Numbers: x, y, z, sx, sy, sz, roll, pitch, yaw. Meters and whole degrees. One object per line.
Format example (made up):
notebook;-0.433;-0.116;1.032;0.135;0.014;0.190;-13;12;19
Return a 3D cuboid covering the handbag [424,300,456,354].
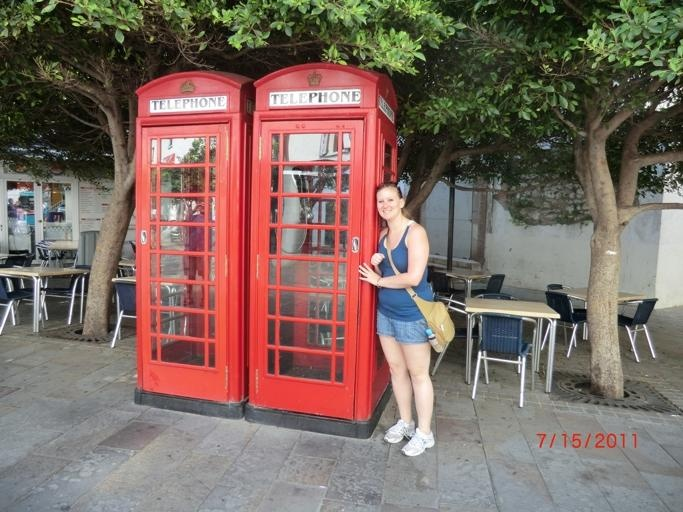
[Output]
handbag;0.850;0.694;5.196;0.369;0.459;0.173;-16;2;-35

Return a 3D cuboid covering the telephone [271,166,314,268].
telephone;-0.493;-0.420;5.394;0.443;0.732;0.182;5;12;26

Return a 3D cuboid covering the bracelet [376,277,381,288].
bracelet;0.354;0.255;5.157;0.024;0.079;0.085;14;12;9

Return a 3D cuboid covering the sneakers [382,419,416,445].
sneakers;0.574;1.747;5.351;0.382;0.163;0.150;5;-8;-40

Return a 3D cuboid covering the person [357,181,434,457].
person;0.595;0.585;5.218;0.445;2.538;0.800;-9;17;-41
